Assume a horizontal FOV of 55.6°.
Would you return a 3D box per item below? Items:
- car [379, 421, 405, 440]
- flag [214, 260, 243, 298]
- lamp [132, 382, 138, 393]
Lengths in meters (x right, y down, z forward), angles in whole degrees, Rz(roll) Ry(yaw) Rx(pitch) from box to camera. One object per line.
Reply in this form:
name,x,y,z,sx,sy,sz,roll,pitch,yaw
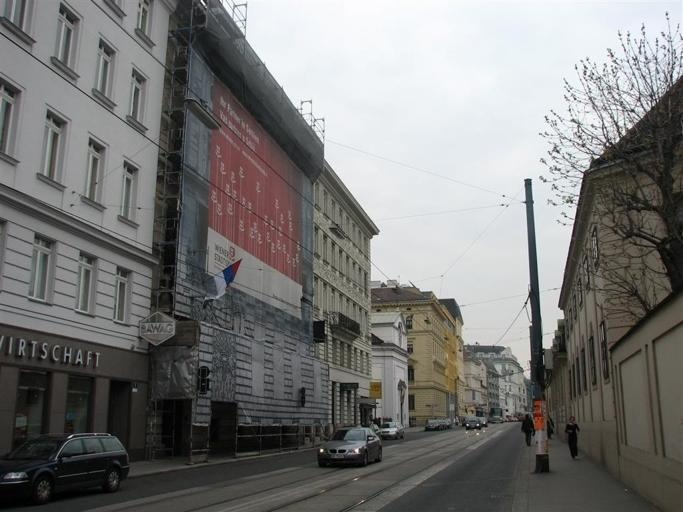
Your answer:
car,4.492,15.272,57.153,1.101,1.019,2.453,1,-2,8
flag,-5.747,0.911,32.804,0.761,2.323,0.211,30,-49,-3
lamp,-9.297,5.854,29.032,0.322,0.639,0.295,3,-18,-28
